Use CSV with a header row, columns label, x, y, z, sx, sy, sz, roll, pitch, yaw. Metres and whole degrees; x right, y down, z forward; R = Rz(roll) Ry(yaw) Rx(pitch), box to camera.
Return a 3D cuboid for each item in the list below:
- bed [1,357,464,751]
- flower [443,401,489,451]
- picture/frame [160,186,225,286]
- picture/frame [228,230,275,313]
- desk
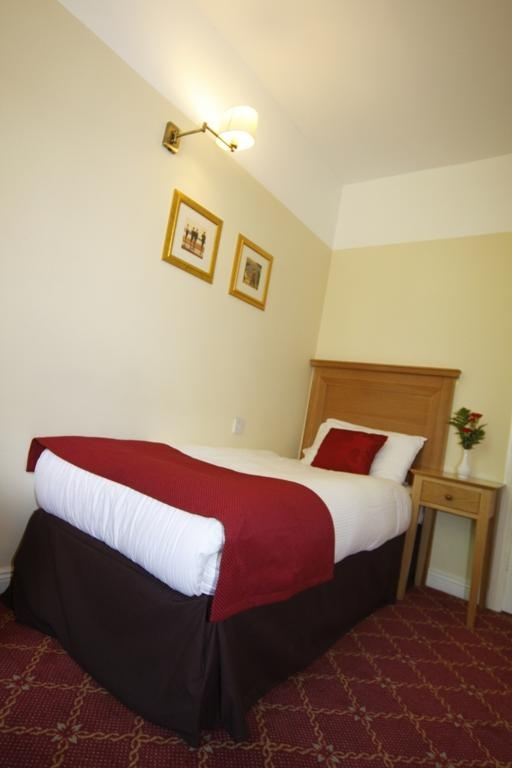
label,x,y,z,sx,sy,sz,roll,pitch,yaw
bed,0.064,0.639,2.143,1.766,1.368,1.216,1,3,-45
flower,1.288,0.250,2.944,0.222,0.264,0.207,-9,7,-34
picture/frame,-0.353,-0.792,2.543,0.032,0.507,0.477,5,-9,30
picture/frame,-0.023,-0.697,3.045,0.016,0.356,0.313,6,-8,45
desk,1.062,0.853,2.663,0.368,0.774,0.319,9,6,32
